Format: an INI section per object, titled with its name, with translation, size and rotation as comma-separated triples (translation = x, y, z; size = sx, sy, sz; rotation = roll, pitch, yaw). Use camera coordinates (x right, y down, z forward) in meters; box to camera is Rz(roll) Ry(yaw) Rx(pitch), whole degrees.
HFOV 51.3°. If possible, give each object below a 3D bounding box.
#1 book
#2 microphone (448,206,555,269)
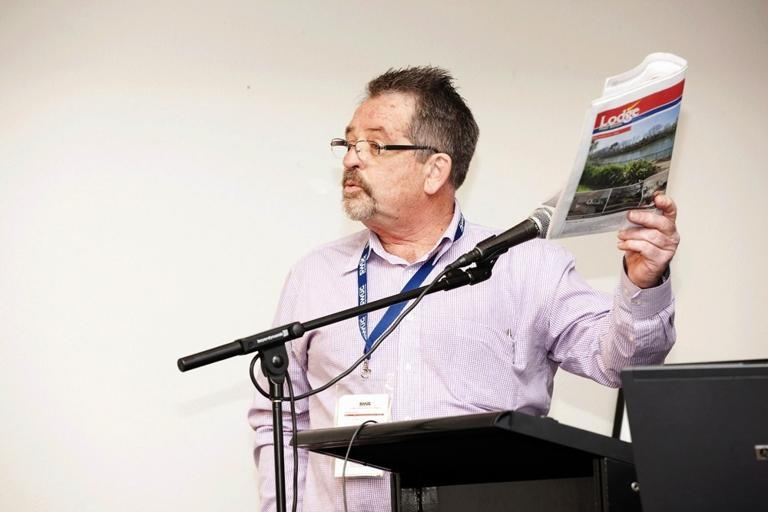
[book]
translation = 0.684, -0.328, 2.391
size = 0.399, 0.505, 0.238
rotation = -2, -10, 2
[microphone]
translation = 0.417, -0.060, 2.881
size = 0.423, 0.110, 0.102
rotation = -28, 14, -7
